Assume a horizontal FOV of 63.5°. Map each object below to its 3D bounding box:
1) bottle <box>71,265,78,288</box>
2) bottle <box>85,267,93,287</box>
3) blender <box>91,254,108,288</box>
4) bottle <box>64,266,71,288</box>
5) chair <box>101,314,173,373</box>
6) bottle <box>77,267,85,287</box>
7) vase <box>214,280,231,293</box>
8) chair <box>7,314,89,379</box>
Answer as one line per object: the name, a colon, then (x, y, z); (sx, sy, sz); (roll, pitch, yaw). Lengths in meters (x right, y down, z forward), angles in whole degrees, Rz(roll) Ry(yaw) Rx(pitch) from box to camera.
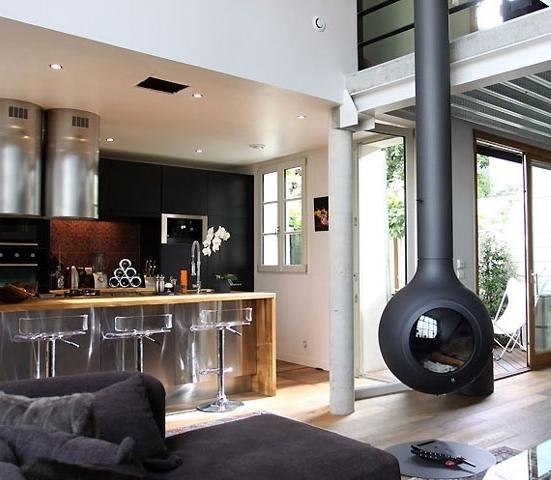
bottle: (-2.800, 0.528, 6.240); (0.092, 0.284, 0.235); (0, -4, -10)
bottle: (-2.650, 0.536, 6.308); (0.107, 0.268, 0.254); (1, -5, -24)
blender: (-2.485, 0.429, 6.300); (0.210, 0.510, 0.650); (1, -5, -23)
bottle: (-2.923, 0.530, 6.248); (0.077, 0.295, 0.257); (2, -5, -27)
chair: (-1.193, 0.944, 3.994); (0.708, 0.560, 0.568); (2, -5, -32)
bottle: (-2.777, 0.539, 6.346); (0.089, 0.283, 0.158); (3, -5, -41)
vase: (-0.597, 0.519, 5.025); (0.132, 0.152, 0.144); (1, 0, -45)
chair: (-1.848, 0.843, 3.548); (0.526, 0.697, 0.336); (0, 0, -37)
